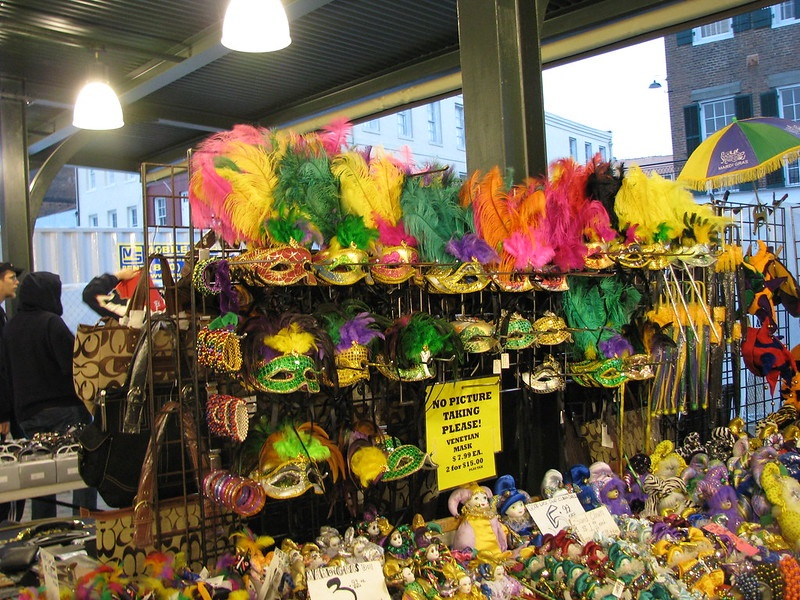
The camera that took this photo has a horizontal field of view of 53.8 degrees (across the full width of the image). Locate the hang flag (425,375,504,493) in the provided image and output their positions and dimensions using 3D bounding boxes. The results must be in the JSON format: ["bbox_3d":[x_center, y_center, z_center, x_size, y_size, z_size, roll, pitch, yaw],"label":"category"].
[{"bbox_3d":[0.240,0.524,3.104,0.459,0.527,0.023,-5,5,-34],"label":"hang flag"}]

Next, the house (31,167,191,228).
[{"bbox_3d":[-3.750,-1.292,9.876,1.613,0.460,1.754,-5,7,-36],"label":"house"}]
